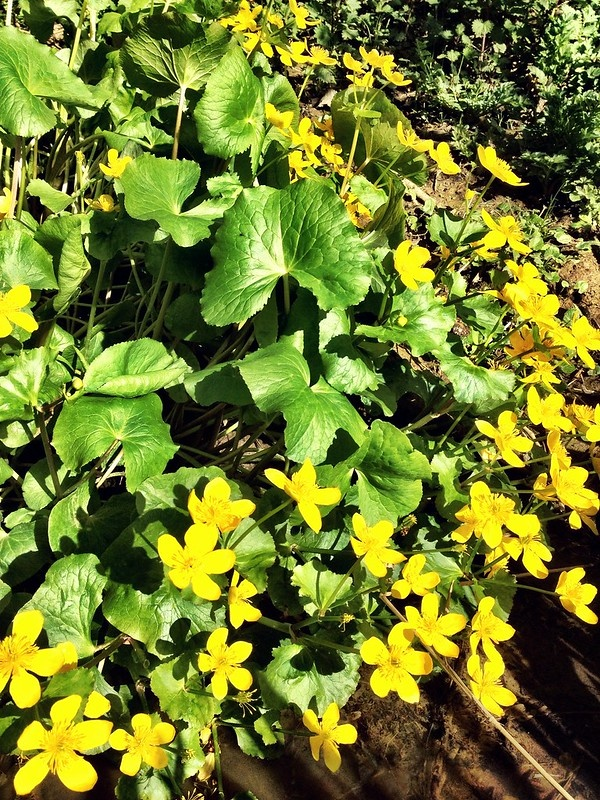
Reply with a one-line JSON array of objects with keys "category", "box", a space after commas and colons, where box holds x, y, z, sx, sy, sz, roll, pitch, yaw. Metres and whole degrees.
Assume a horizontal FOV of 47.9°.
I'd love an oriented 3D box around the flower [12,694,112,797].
[{"category": "flower", "box": [-0.440, 0.641, 1.243, 0.183, 0.137, 0.131, -5, 39, -43]}]
